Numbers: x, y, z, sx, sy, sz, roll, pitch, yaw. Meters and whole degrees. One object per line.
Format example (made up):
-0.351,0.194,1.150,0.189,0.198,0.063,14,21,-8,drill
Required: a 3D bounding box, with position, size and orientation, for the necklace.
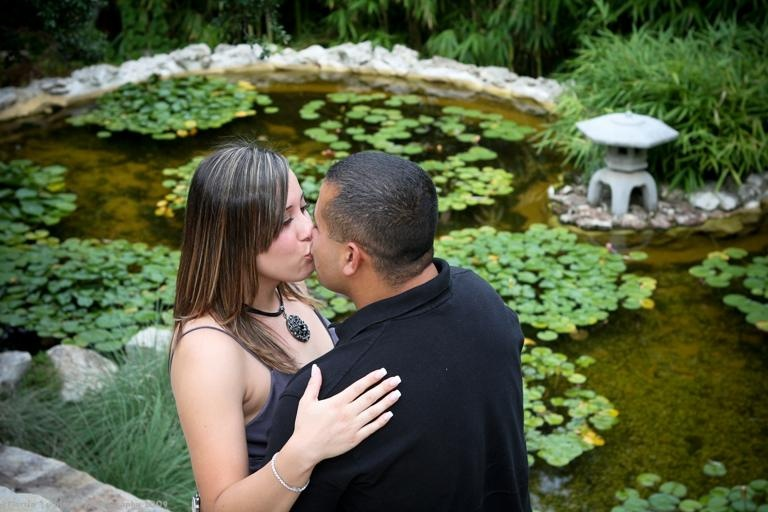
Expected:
-0.582,0.285,3.714,0.062,0.443,0.235,-43,30,19,necklace
